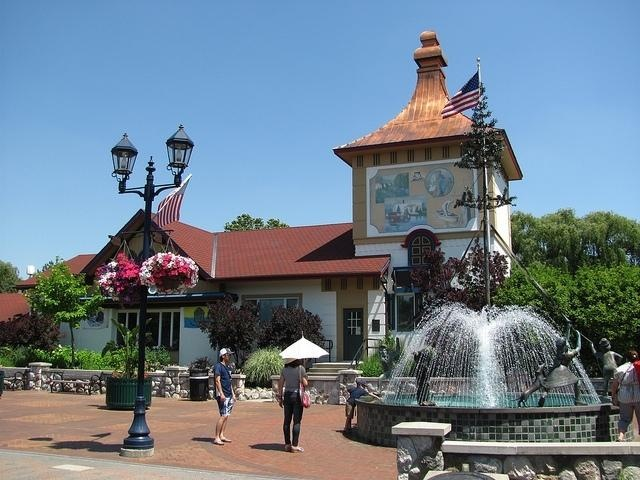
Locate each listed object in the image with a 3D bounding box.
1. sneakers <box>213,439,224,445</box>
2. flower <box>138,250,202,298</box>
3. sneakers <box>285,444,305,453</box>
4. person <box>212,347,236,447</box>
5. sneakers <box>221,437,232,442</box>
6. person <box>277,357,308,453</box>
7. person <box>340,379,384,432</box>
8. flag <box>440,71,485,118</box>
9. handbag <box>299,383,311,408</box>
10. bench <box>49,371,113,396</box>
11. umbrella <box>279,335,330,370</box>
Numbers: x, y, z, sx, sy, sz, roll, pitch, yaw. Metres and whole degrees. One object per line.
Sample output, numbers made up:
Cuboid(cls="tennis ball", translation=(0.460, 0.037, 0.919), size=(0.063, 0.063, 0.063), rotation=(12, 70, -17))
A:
Cuboid(cls="sneakers", translation=(-2.787, 5.492, 21.798), size=(0.324, 0.158, 0.114), rotation=(-8, -11, 37))
Cuboid(cls="flower", translation=(-4.213, 0.792, 21.910), size=(1.323, 1.112, 1.486), rotation=(10, 0, 7))
Cuboid(cls="sneakers", translation=(-0.713, 5.498, 21.144), size=(0.342, 0.175, 0.203), rotation=(3, -10, -11))
Cuboid(cls="person", translation=(-2.705, 4.281, 22.033), size=(0.520, 2.609, 0.793), rotation=(3, -9, -8))
Cuboid(cls="sneakers", translation=(-2.609, 5.491, 21.994), size=(0.267, 0.126, 0.106), rotation=(-2, -8, 6))
Cuboid(cls="person", translation=(-0.750, 4.425, 21.534), size=(0.750, 2.440, 0.533), rotation=(1, -8, 2))
Cuboid(cls="person", translation=(1.324, 5.117, 24.701), size=(0.497, 1.659, 1.368), rotation=(9, -2, -45))
Cuboid(cls="flag", translation=(5.518, -5.585, 30.968), size=(0.995, 1.488, 2.336), rotation=(4, -10, -14))
Cuboid(cls="handbag", translation=(-0.450, 4.173, 21.509), size=(0.268, 0.603, 0.293), rotation=(3, -9, -12))
Cuboid(cls="bench", translation=(-10.294, 5.924, 33.472), size=(3.052, 0.966, 1.218), rotation=(-4, -11, 30))
Cuboid(cls="umbrella", translation=(-0.498, 3.087, 22.334), size=(0.987, 0.545, 1.019), rotation=(2, -11, -28))
